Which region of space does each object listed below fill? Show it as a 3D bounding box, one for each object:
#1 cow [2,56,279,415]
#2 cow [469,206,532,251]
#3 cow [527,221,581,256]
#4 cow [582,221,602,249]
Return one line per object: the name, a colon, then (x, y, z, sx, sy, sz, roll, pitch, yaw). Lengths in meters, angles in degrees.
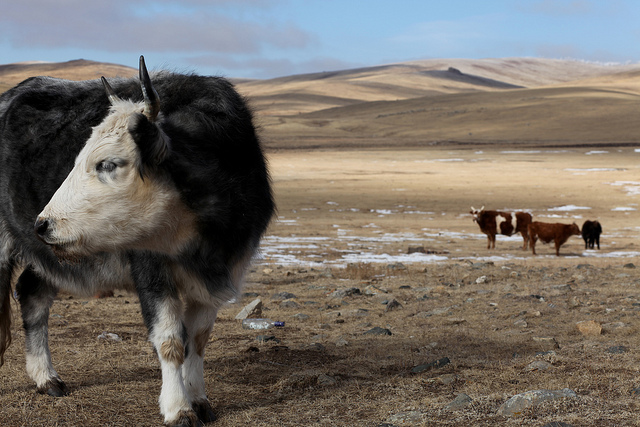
cow: (-3.042, 0.446, 16.700, 3.873, 4.972, 2.196, 1, 10, 24)
cow: (4.882, 0.585, 29.313, 2.016, 0.846, 0.525, 4, -9, -23)
cow: (6.183, 0.791, 28.046, 1.553, 0.701, 0.480, 0, -2, 30)
cow: (7.163, 0.720, 28.036, 0.476, 0.674, 0.597, -7, 10, -26)
